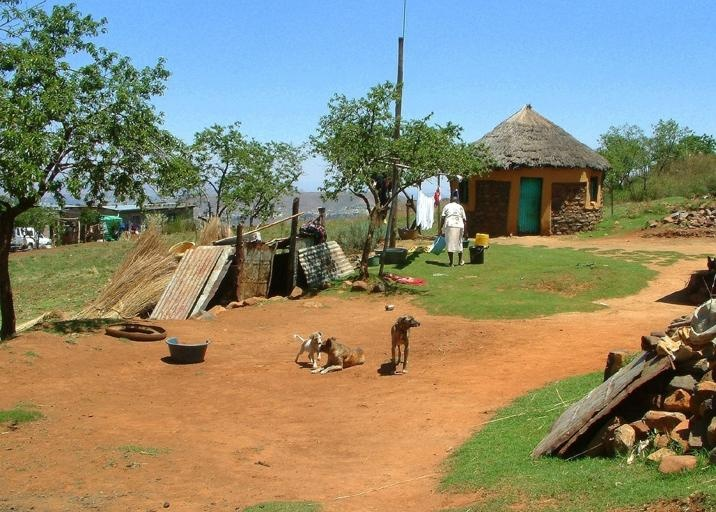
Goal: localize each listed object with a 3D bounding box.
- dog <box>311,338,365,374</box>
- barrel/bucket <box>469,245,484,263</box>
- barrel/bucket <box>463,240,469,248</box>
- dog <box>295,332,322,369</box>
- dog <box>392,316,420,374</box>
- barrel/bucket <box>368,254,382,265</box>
[{"bbox_3d":[-0.345,1.914,10.531,0.459,0.538,1.392,1,-6,41],"label":"dog"},{"bbox_3d":[4.353,-0.037,19.651,0.509,0.664,0.487,-5,11,1],"label":"barrel/bucket"},{"bbox_3d":[4.488,-0.489,22.361,0.323,0.227,0.318,0,-3,0],"label":"barrel/bucket"},{"bbox_3d":[-0.986,1.828,10.649,0.391,0.646,1.192,0,-3,-29],"label":"dog"},{"bbox_3d":[0.830,1.640,10.241,0.525,0.868,1.439,5,-11,1],"label":"dog"},{"bbox_3d":[0.589,0.187,19.428,0.415,0.246,0.394,-3,2,0],"label":"barrel/bucket"}]
